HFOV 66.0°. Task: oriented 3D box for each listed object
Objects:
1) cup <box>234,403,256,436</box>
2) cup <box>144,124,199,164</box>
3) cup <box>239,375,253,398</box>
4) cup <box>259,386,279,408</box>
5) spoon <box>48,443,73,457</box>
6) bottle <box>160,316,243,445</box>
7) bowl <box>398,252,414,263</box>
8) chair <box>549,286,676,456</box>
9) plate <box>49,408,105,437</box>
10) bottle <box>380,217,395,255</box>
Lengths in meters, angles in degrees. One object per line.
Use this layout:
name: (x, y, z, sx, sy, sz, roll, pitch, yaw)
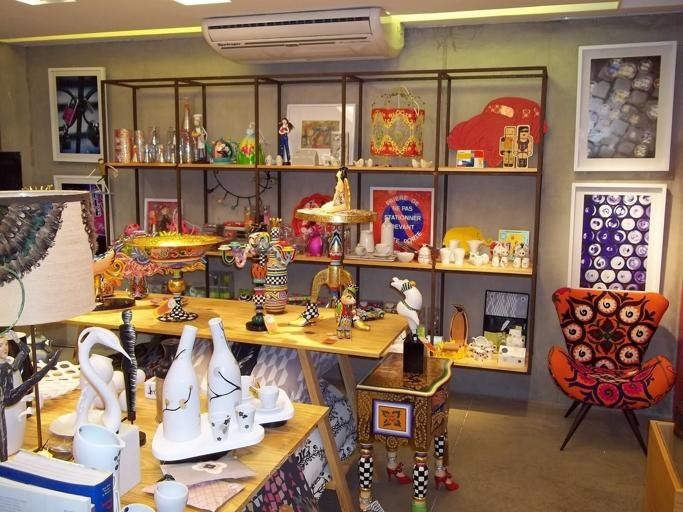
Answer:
cup: (-0.335, 0.599, 1.938, 0.082, 0.099, 0.087, -2, 0, 0)
cup: (-1.591, -1.040, 4.960, 0.412, 0.269, 0.148, 2, 5, 8)
cup: (-0.385, 0.541, 2.198, 0.057, 0.067, 0.091, 0, 1, 3)
cup: (-0.295, 0.567, 2.144, 0.085, 0.079, 0.100, -2, 10, -9)
spoon: (-0.944, 0.649, 1.766, 0.048, 0.026, 0.049, 6, 6, 22)
bottle: (-0.510, 0.442, 1.922, 0.282, 0.392, 0.175, -3, 10, -13)
bowl: (0.543, 0.020, 4.429, 0.091, 0.066, 0.095, 1, -1, 0)
chair: (1.962, 0.825, 3.892, 0.799, 1.086, 0.752, 4, 11, 20)
plate: (-0.982, 0.599, 1.899, 0.144, 0.036, 0.147, -3, 15, 2)
bottle: (0.395, -0.152, 4.508, 0.096, 0.270, 0.122, 0, 10, 1)
